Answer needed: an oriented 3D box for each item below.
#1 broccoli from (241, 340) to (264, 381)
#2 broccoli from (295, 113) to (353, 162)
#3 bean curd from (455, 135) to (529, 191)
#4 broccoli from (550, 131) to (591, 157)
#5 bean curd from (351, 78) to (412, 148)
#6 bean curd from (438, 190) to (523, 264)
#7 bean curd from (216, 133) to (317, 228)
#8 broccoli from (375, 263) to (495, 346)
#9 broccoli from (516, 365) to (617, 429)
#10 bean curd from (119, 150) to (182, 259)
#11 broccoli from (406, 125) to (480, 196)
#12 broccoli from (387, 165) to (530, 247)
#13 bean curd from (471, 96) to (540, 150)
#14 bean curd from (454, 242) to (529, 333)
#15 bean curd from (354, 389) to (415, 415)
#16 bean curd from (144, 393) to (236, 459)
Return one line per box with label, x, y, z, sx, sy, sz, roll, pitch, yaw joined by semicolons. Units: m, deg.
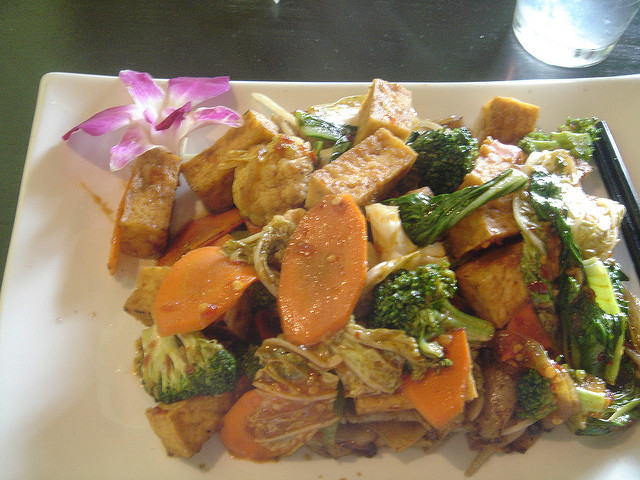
broccoli;-0.273;0.490;2.374;0.062;0.124;0.121;29;50;-35
broccoli;0.033;-0.490;2.631;0.273;0.080;0.226;25;53;18
bean curd;0.759;-0.335;2.510;0.285;0.084;0.252;0;45;37
broccoli;1.172;-0.445;2.772;0.154;0.042;0.133;27;66;4
bean curd;0.300;-0.568;2.573;0.172;0.292;0.335;11;26;24
bean curd;0.652;-0.040;2.358;0.336;0.080;0.295;-21;22;25
bean curd;-0.215;-0.261;2.652;0.532;0.379;0.307;-15;25;-30
broccoli;0.454;0.289;2.305;0.331;0.186;0.392;-4;34;-21
broccoli;0.981;0.673;2.369;0.468;0.224;0.096;2;8;0
bean curd;-0.821;-0.176;2.769;0.238;0.457;0.307;-11;25;-32
broccoli;0.530;-0.348;2.480;0.360;0.094;0.276;11;85;13
broccoli;0.590;-0.117;2.490;0.599;0.177;0.251;-18;63;-1
bean curd;0.870;-0.579;2.886;0.256;0.284;0.342;-4;26;-8
bean curd;0.696;0.195;2.337;0.376;0.206;0.192;-17;26;-19
bean curd;0.255;0.665;2.370;0.160;0.138;0.032;-4;88;-4
bean curd;-0.533;0.787;2.461;0.366;0.193;0.207;-15;93;-35
